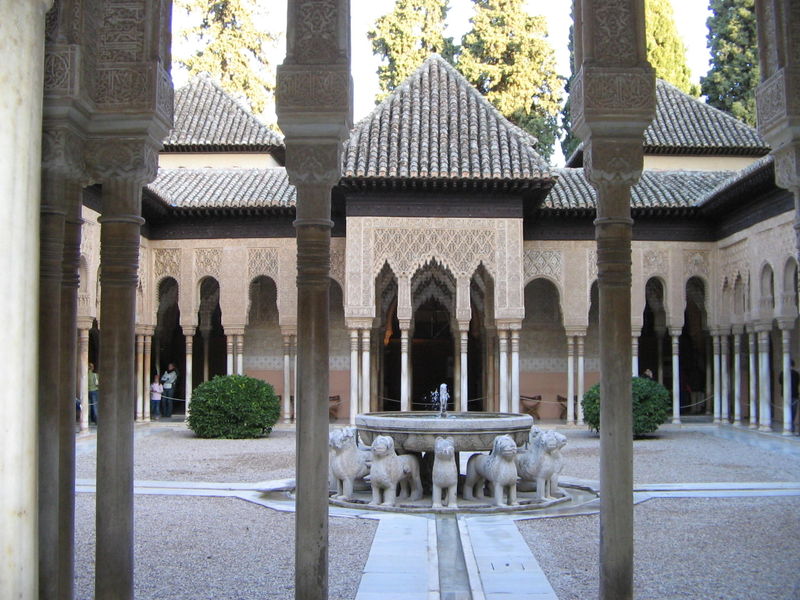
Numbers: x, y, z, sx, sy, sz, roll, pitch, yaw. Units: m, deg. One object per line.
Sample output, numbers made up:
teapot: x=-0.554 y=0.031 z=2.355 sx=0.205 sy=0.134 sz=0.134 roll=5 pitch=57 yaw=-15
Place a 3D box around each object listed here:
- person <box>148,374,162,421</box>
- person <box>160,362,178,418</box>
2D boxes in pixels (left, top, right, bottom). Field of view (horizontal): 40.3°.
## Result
person: x=-5.414 y=2.159 z=24.215 sx=0.280 sy=1.043 sz=1.649 roll=3 pitch=-7 yaw=-12
person: x=-5.179 y=2.049 z=24.367 sx=0.285 sy=1.210 sz=1.219 roll=3 pitch=-7 yaw=-13
